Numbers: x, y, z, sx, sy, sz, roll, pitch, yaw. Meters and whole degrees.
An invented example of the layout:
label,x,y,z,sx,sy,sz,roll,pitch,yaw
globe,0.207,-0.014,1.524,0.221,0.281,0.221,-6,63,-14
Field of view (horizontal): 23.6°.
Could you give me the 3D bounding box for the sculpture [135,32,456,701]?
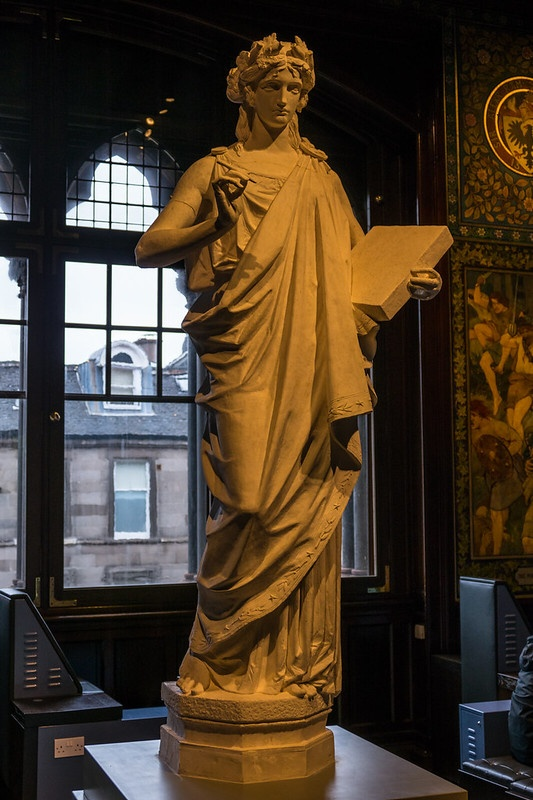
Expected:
label,x,y,z,sx,sy,sz,roll,pitch,yaw
sculpture,0.004,-0.105,3.667,0.684,1.947,0.471,1,-4,-6
